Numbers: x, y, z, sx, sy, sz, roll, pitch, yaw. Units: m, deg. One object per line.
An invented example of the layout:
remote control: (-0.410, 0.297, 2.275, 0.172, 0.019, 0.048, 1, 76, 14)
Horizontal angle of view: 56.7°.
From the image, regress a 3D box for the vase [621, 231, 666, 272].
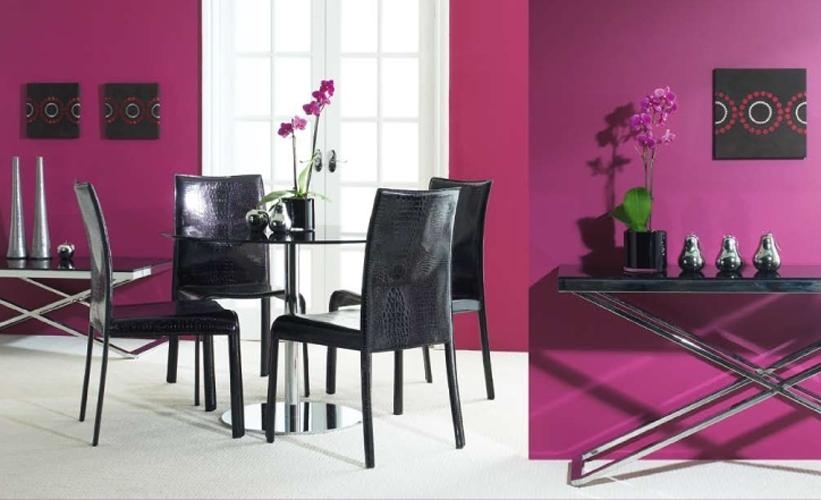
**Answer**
vase: (1.215, 0.009, 4.055, 0.233, 0.205, 0.202, 1, -2, 7)

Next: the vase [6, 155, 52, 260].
vase: (-3.089, -0.340, 6.104, 0.338, 0.795, 0.589, -6, 14, -24)

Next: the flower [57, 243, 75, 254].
flower: (-2.726, -0.018, 6.021, 0.111, 0.066, 0.097, -1, 1, -17)

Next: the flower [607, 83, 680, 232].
flower: (1.246, -0.495, 4.069, 0.288, 0.747, 0.437, 4, 14, 18)
